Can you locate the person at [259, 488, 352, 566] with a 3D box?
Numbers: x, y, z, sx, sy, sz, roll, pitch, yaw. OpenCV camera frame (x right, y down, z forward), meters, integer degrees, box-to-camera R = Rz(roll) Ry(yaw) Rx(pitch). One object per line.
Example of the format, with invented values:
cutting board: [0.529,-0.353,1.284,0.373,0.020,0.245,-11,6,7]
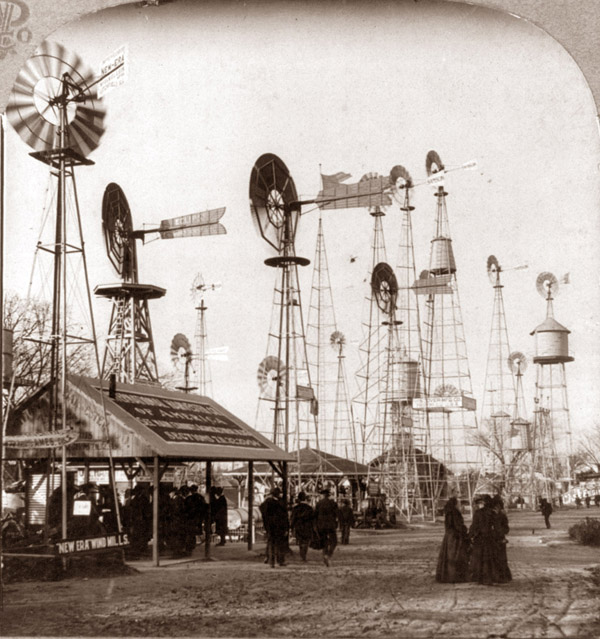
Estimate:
person: [-0.002,3.279,17.794,1.196,1.334,1.231,-2,13,-1]

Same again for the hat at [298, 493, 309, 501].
hat: [0.044,2.830,18.107,0.156,0.085,0.198,-2,-1,-3]

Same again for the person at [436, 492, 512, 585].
person: [2.348,3.016,15.527,0.999,1.041,0.558,1,12,10]
